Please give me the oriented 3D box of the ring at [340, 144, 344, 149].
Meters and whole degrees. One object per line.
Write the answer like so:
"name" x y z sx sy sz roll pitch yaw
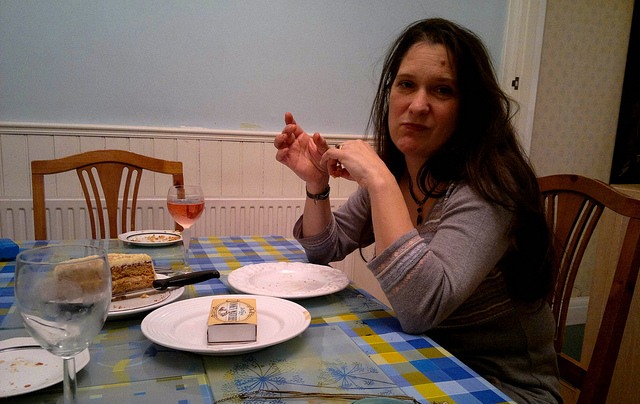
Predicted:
"ring" 0.078 -0.196 1.447 0.005 0.020 0.020 26 -6 7

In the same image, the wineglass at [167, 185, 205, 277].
"wineglass" -0.458 0.093 1.418 0.105 0.316 0.112 -4 16 -31

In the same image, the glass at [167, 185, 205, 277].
"glass" -0.475 0.104 1.467 0.138 0.321 0.136 3 4 42

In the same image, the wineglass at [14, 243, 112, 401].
"wineglass" -0.560 0.218 0.939 0.169 0.387 0.171 5 7 22

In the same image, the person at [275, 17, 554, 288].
"person" 0.269 0.070 1.493 0.698 1.255 0.670 -2 11 -23

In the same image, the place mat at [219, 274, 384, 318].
"place mat" -0.054 0.246 1.322 0.391 0.089 0.353 2 9 -23
